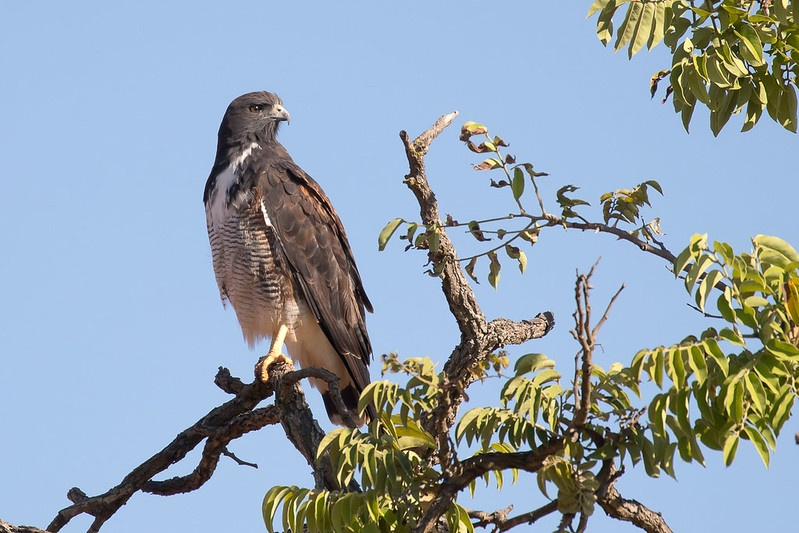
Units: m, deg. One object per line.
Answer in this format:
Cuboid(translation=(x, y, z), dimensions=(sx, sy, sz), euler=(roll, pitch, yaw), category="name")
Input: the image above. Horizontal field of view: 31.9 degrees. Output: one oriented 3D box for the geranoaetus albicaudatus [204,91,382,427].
Cuboid(translation=(-0.858, -0.051, 9.960), dimensions=(0.960, 2.336, 1.612), euler=(-20, -58, 2), category="geranoaetus albicaudatus")
